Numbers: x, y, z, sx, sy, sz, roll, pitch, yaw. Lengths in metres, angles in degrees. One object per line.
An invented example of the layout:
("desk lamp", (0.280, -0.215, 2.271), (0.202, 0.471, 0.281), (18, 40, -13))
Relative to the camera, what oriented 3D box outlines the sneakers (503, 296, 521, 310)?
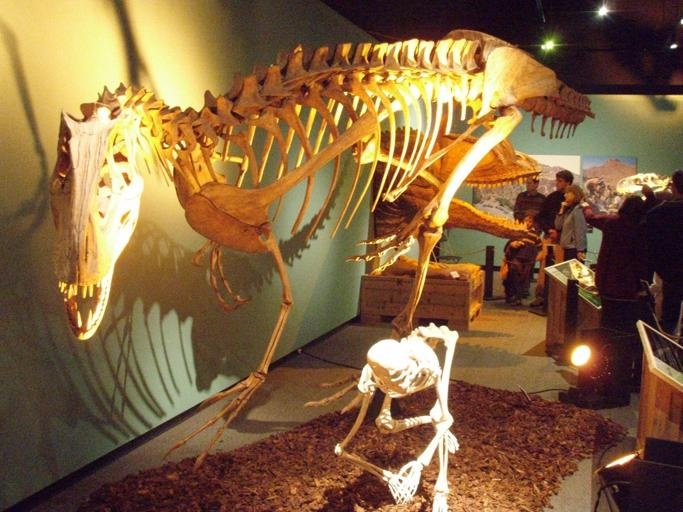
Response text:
("sneakers", (2.726, 0.749, 9.367), (0.130, 0.164, 0.389), (-2, -13, 14))
